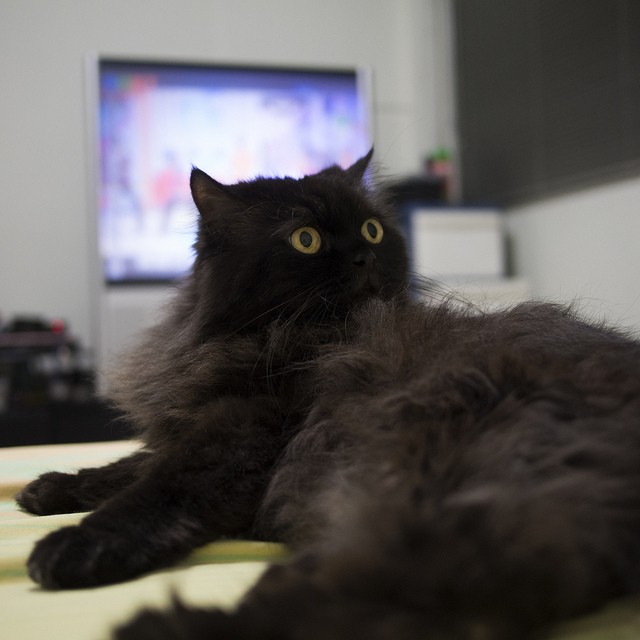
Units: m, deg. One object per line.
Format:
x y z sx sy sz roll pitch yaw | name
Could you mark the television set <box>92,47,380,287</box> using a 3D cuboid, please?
-0.183 -0.371 1.781 0.655 0.565 0.066 -1 2 -7 | television set
